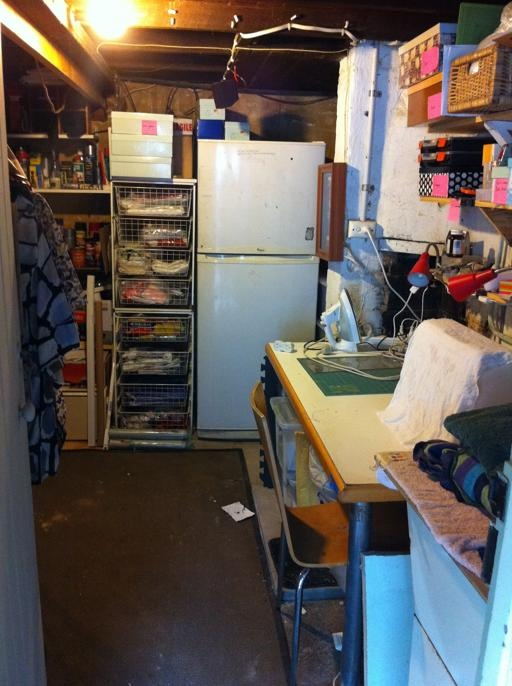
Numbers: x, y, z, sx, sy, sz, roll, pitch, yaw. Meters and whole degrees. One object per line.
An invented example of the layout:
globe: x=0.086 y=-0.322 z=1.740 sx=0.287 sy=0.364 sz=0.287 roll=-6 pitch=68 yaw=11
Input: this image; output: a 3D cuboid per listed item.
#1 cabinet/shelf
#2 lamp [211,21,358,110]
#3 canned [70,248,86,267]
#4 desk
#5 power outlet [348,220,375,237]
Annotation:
cabinet/shelf: x=-0.651 y=-0.158 z=3.395 sx=0.565 sy=1.621 sz=0.278 roll=1 pitch=12 yaw=-1
lamp: x=0.109 y=-1.440 z=2.948 sx=0.649 sy=0.305 sz=0.976 roll=-2 pitch=13 yaw=-13
canned: x=-1.186 y=-0.576 z=3.690 sx=0.109 sy=0.132 sz=0.113 roll=-2 pitch=13 yaw=-11
desk: x=0.245 y=0.566 z=1.767 sx=0.305 sy=0.452 sz=0.894 roll=1 pitch=23 yaw=0
power outlet: x=0.547 y=-0.599 z=2.930 sx=0.137 sy=0.095 sz=0.078 roll=0 pitch=14 yaw=-3
